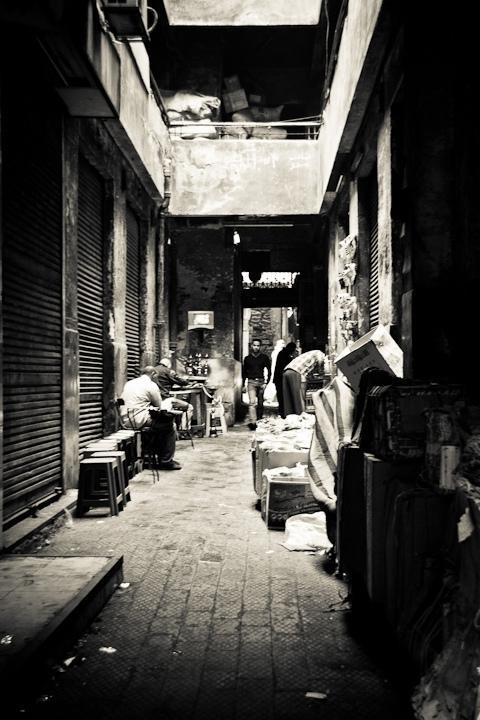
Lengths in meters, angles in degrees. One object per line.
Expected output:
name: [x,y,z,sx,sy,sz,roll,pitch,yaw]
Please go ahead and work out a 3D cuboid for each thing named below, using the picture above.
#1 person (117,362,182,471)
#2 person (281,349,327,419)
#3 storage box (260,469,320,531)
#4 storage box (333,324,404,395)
person: [-1.253,0.832,7.918,0.649,1.477,1.064,0,-3,22]
person: [1.108,0.370,9.721,0.637,1.309,0.524,-3,17,-7]
storage box: [0.430,1.204,4.959,0.477,0.494,0.583,1,-3,3]
storage box: [0.827,-0.007,3.642,0.434,0.434,0.330,0,-3,8]
